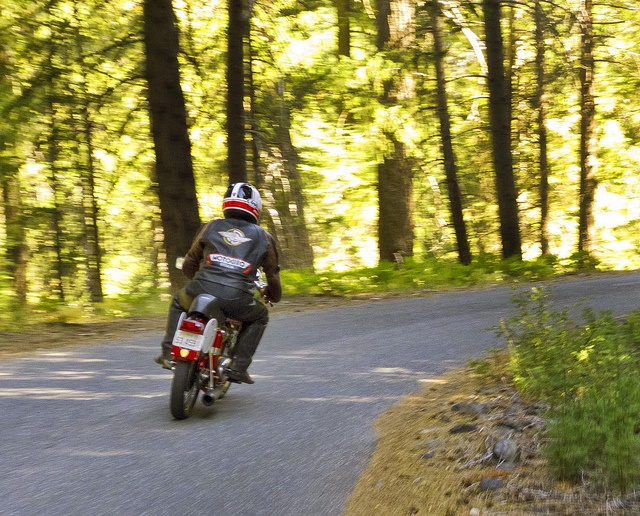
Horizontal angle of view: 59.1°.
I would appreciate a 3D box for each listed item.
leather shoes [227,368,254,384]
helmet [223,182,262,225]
[{"bbox_3d":[-0.774,1.140,5.483,0.201,0.073,0.252,8,-10,-39],"label":"leather shoes"},{"bbox_3d":[-0.790,-0.573,5.769,0.361,0.285,0.432,-8,-21,32],"label":"helmet"}]
